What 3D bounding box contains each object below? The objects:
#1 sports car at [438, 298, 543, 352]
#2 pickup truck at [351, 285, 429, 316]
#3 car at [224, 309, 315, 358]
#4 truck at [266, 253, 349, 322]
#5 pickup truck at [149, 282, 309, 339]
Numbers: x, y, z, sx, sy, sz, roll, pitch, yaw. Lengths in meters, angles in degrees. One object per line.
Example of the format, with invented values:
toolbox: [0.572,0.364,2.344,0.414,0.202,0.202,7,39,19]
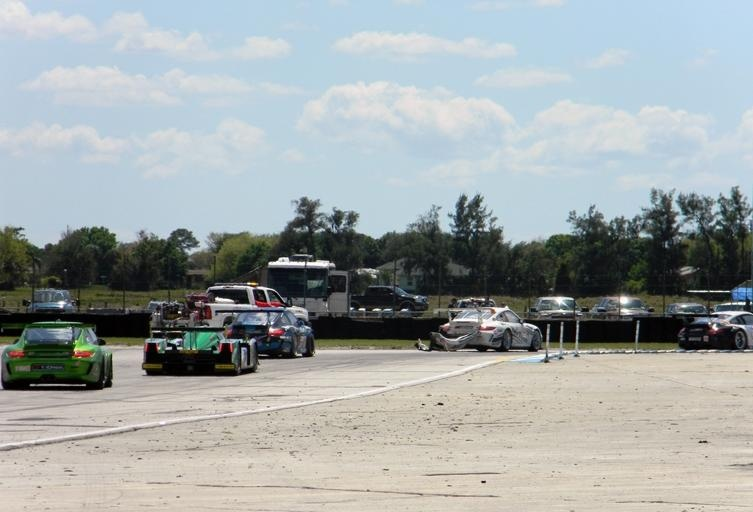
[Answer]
sports car: [4.062,2.757,65.544,5.288,2.086,2.623,-1,-1,28]
pickup truck: [0.741,2.609,100.013,4.423,1.513,1.859,-1,1,24]
car: [-3.786,2.877,61.452,1.312,2.189,4.087,6,13,28]
truck: [-2.547,1.163,76.396,5.622,3.139,2.818,-2,0,29]
pickup truck: [-5.441,2.065,66.062,2.628,2.126,6.825,2,1,29]
